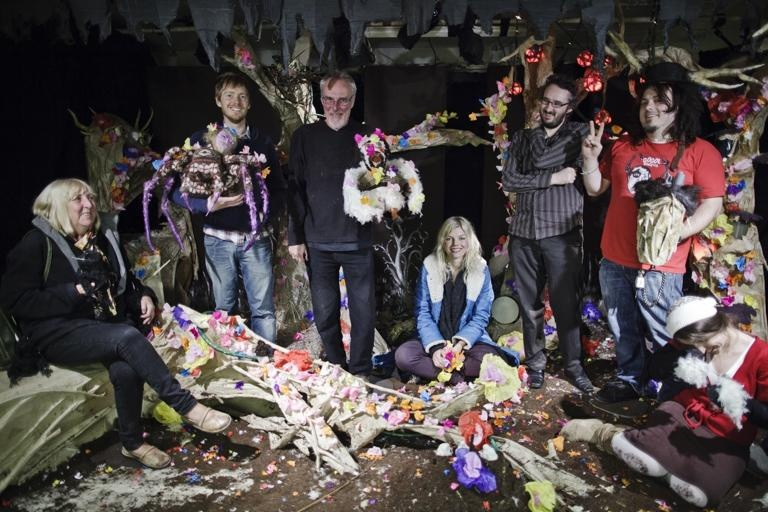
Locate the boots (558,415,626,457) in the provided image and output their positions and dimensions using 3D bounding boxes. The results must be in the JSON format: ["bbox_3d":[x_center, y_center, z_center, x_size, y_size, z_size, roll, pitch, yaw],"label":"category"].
[{"bbox_3d":[1.684,1.449,4.893,0.276,0.120,0.315,-19,12,-37],"label":"boots"}]

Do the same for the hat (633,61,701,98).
[{"bbox_3d":[2.356,-1.420,4.959,0.400,0.151,0.336,10,-6,-33],"label":"hat"}]

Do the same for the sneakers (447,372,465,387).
[{"bbox_3d":[0.650,1.114,5.419,0.158,0.141,0.111,0,15,8],"label":"sneakers"}]

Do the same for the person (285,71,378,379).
[{"bbox_3d":[-0.486,-0.237,5.302,0.759,2.685,0.577,-3,15,-3],"label":"person"}]

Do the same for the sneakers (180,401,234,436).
[{"bbox_3d":[-1.398,1.295,4.780,0.384,0.147,0.232,17,55,10],"label":"sneakers"}]

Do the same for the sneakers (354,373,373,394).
[{"bbox_3d":[-0.182,1.101,5.238,0.183,0.063,0.133,34,-11,-33],"label":"sneakers"}]

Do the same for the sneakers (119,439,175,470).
[{"bbox_3d":[-1.867,1.539,4.675,0.368,0.117,0.175,12,24,7],"label":"sneakers"}]

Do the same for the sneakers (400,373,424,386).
[{"bbox_3d":[0.260,1.135,5.513,0.142,0.123,0.052,-3,-5,-4],"label":"sneakers"}]

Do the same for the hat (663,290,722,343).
[{"bbox_3d":[2.264,0.439,4.411,0.348,0.274,0.258,-24,-6,4],"label":"hat"}]

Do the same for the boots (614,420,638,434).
[{"bbox_3d":[1.994,1.409,4.950,0.151,0.057,0.110,-5,6,-32],"label":"boots"}]

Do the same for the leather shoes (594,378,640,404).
[{"bbox_3d":[2.067,1.203,5.319,0.381,0.166,0.186,1,-3,-4],"label":"leather shoes"}]

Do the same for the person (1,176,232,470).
[{"bbox_3d":[-2.173,0.512,4.709,1.317,2.199,0.608,1,15,11],"label":"person"}]
